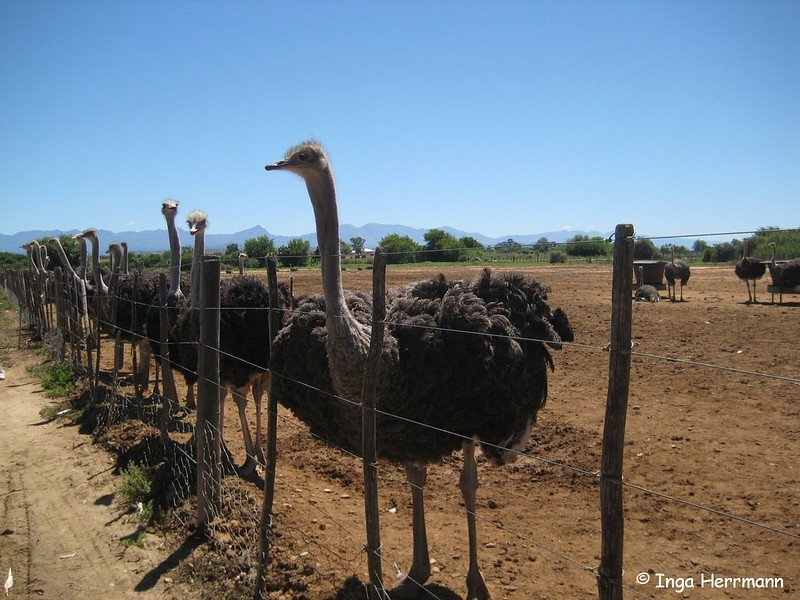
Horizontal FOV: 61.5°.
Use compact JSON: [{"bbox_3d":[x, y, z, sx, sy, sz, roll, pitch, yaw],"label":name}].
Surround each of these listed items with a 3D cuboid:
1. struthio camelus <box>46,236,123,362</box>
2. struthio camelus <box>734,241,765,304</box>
[{"bbox_3d":[-5.615,-0.192,12.600,1.624,2.432,0.695,-6,22,-38],"label":"struthio camelus"},{"bbox_3d":[10.143,-0.957,19.430,1.405,1.979,0.706,-6,4,-44],"label":"struthio camelus"}]
